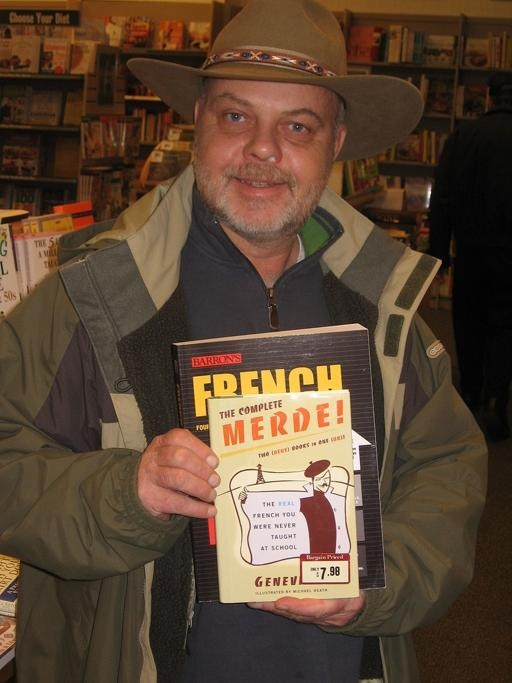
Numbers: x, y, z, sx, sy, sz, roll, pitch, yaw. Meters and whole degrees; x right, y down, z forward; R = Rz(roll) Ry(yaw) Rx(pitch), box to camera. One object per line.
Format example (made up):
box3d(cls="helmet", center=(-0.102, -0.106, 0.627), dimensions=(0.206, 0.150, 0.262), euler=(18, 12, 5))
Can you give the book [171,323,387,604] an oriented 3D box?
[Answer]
box3d(cls="book", center=(0.042, 0.182, 0.835), dimensions=(0.290, 0.377, 0.207), euler=(-5, 17, -1))
